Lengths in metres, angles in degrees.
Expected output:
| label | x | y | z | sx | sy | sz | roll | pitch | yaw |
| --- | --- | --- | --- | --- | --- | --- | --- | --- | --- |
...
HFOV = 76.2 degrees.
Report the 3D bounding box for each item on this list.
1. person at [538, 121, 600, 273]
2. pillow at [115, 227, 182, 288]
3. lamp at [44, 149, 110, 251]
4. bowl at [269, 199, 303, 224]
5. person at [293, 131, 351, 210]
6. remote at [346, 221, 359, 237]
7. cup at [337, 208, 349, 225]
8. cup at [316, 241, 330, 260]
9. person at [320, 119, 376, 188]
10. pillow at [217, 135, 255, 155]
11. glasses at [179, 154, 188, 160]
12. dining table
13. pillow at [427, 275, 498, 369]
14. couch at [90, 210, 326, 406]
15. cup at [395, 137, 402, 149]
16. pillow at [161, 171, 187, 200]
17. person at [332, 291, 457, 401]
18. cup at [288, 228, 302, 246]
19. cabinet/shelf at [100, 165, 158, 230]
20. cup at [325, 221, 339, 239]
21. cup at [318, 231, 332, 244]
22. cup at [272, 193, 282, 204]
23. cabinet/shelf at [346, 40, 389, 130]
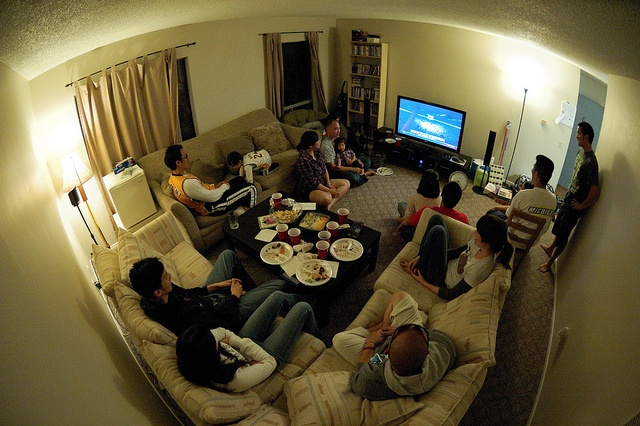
| label | x | y | z | sx | sy | sz | roll | pitch | yaw |
| --- | --- | --- | --- | --- | --- | --- | --- | --- | --- |
| person | 2.479 | -0.055 | 4.067 | 0.382 | 1.579 | 0.721 | 8 | 21 | 28 |
| pillow | -1.463 | 0.286 | 3.536 | 0.152 | 0.529 | 0.497 | -35 | 28 | 6 |
| lamp | -2.576 | -0.106 | 4.467 | 0.300 | 1.110 | 0.622 | -13 | 21 | -29 |
| bowl | -0.361 | -0.005 | 4.421 | 0.215 | 0.081 | 0.219 | -4 | 39 | 3 |
| person | 0.064 | -0.575 | 5.194 | 0.661 | 0.902 | 0.658 | -25 | 37 | -36 |
| remote | 0.351 | 0.170 | 4.219 | 0.103 | 0.035 | 0.170 | 16 | 52 | 14 |
| cup | 0.253 | 0.021 | 4.361 | 0.130 | 0.178 | 0.147 | 7 | 24 | 24 |
| cup | 0.034 | 0.346 | 3.986 | 0.147 | 0.154 | 0.161 | -8 | 31 | -9 |
| person | 0.332 | -0.892 | 5.819 | 0.722 | 0.910 | 0.753 | 10 | 22 | 24 |
| pillow | -1.121 | -0.914 | 5.505 | 0.314 | 0.125 | 0.326 | -7 | 33 | 5 |
| glasses | -1.494 | -0.622 | 4.500 | 0.061 | 0.060 | 0.075 | 26 | 60 | 10 |
| dining table | -0.057 | 0.406 | 4.196 | 1.621 | 0.670 | 1.101 | 30 | 52 | 23 |
| pillow | 1.150 | 0.798 | 3.252 | 0.186 | 0.732 | 0.737 | -8 | -4 | -21 |
| couch | -1.092 | 0.871 | 3.520 | 1.012 | 1.019 | 2.305 | -35 | 45 | -26 |
| cup | 1.250 | -1.114 | 6.491 | 0.133 | 0.157 | 0.131 | -3 | 30 | 2 |
| pillow | -1.675 | -0.327 | 4.671 | 0.225 | 0.301 | 0.547 | -12 | 21 | -27 |
| person | 0.570 | 1.063 | 3.032 | 0.618 | 0.677 | 1.168 | -22 | -14 | 8 |
| cup | -0.242 | 0.229 | 4.142 | 0.141 | 0.135 | 0.149 | -1 | 40 | 1 |
| cabinet/shelf | -2.151 | -0.196 | 4.647 | 0.412 | 0.598 | 0.384 | -33 | 46 | -31 |
| cup | 0.150 | 0.160 | 4.222 | 0.111 | 0.164 | 0.171 | 5 | 45 | 14 |
| cup | 0.039 | 0.230 | 4.076 | 0.109 | 0.085 | 0.115 | -1 | 48 | 2 |
| cup | -0.465 | -0.164 | 4.566 | 0.098 | 0.101 | 0.091 | 4 | 54 | -5 |
| cabinet/shelf | 0.800 | -2.150 | 6.959 | 0.801 | 1.408 | 0.516 | 6 | 20 | 24 |
